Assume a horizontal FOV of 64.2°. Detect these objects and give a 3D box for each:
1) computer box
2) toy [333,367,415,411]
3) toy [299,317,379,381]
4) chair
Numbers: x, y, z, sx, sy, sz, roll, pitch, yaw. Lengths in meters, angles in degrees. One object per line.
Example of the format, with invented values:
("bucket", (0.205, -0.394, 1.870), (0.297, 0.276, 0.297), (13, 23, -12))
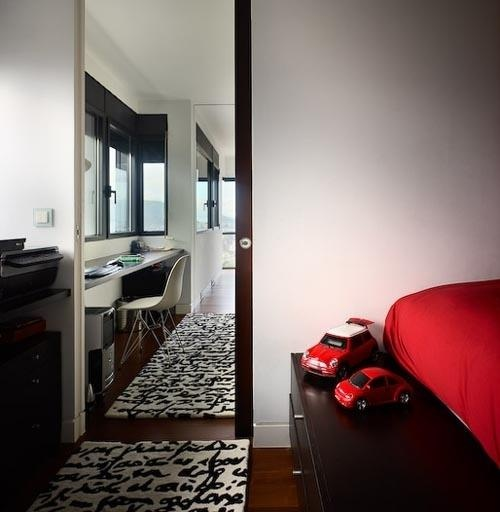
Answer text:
("computer box", (-0.970, 0.605, 2.457), (0.219, 0.527, 0.274), (0, 3, 0))
("toy", (0.394, 0.411, 1.290), (0.191, 0.107, 0.123), (-1, 2, -4))
("toy", (0.375, 0.378, 1.616), (0.337, 0.175, 0.179), (-10, 5, -41))
("chair", (-0.839, 0.404, 3.709), (0.724, 1.250, 0.672), (2, 2, -1))
